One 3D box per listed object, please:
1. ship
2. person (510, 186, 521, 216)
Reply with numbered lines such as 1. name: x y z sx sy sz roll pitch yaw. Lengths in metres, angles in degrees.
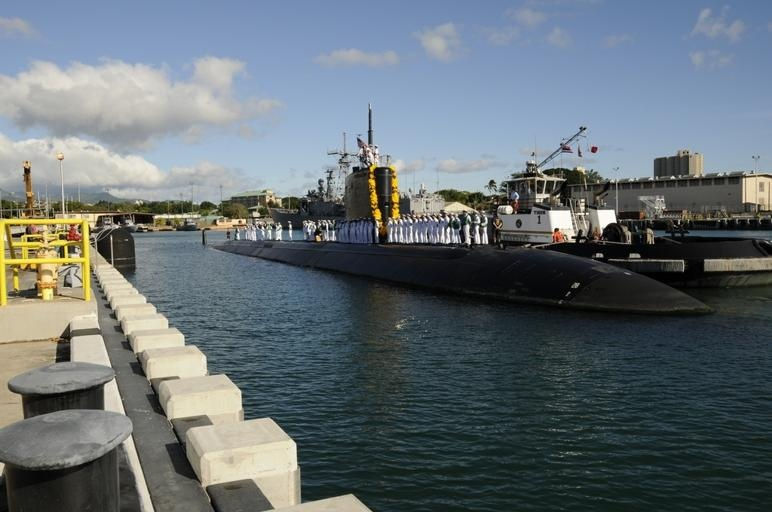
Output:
1. ship: 3.488 -0.187 25.441 9.967 5.624 17.459 1 1 -41
2. person: 6.133 -2.561 29.214 0.492 1.055 0.832 -6 -20 20
